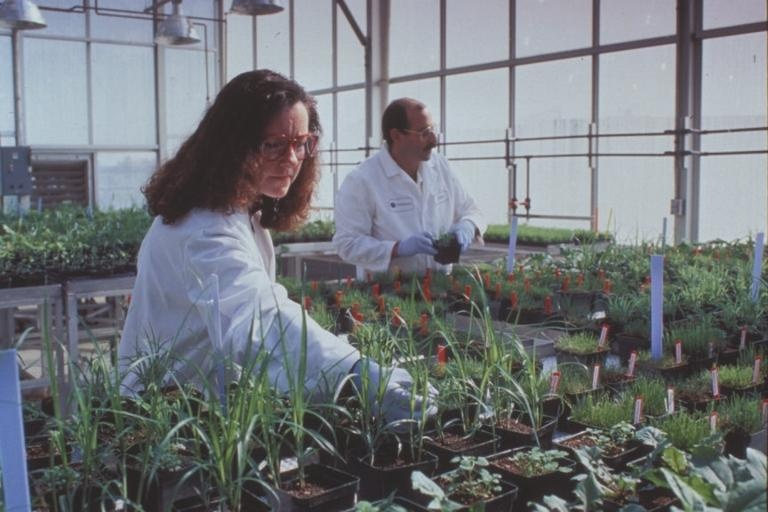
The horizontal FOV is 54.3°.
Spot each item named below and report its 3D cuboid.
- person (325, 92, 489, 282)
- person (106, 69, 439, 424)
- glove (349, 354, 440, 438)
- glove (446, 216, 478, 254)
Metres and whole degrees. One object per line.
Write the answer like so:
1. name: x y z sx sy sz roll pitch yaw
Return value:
1. person: 0.211 -0.492 5.603 1.255 1.376 0.936 -11 14 -30
2. person: -0.576 -0.065 3.350 1.044 1.549 1.255 -2 2 -31
3. glove: 0.039 0.568 3.115 0.363 0.318 0.260 -1 1 3
4. glove: 0.569 -0.136 5.418 0.189 0.099 0.265 34 43 -8
